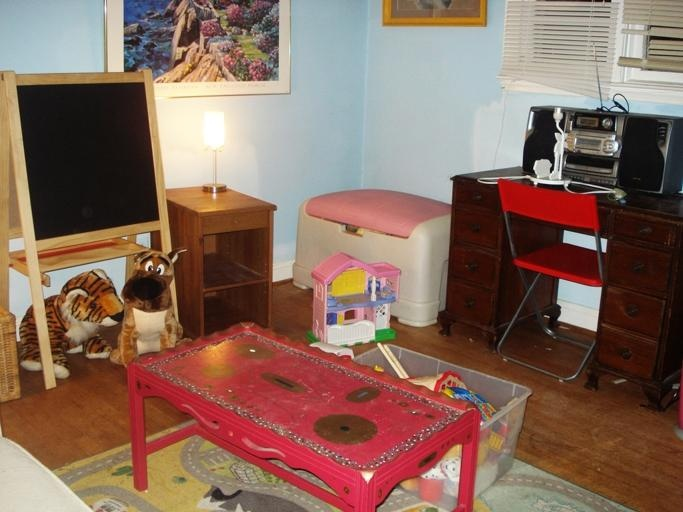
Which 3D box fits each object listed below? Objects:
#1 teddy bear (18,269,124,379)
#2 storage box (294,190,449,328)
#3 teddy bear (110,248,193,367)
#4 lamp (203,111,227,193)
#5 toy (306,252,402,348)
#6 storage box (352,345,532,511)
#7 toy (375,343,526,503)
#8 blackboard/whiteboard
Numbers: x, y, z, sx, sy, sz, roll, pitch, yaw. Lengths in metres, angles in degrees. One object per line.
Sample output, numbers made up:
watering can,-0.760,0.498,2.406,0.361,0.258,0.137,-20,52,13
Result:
teddy bear,-1.591,0.353,3.158,0.647,0.533,0.491,14,16,24
storage box,0.268,-0.090,3.745,1.229,0.761,0.881,15,21,36
teddy bear,-1.105,0.270,3.113,0.396,0.600,0.450,12,11,39
lamp,-0.858,-0.704,3.676,0.165,0.505,0.571,-5,19,-10
toy,0.098,0.289,3.392,0.496,0.517,0.206,-9,20,-28
storage box,0.420,0.656,2.408,0.560,0.287,0.698,-12,18,-41
toy,0.450,0.685,2.466,0.477,0.288,0.687,-12,20,-37
blackboard/whiteboard,-1.373,-0.505,2.865,0.894,0.946,0.084,-16,23,-38
